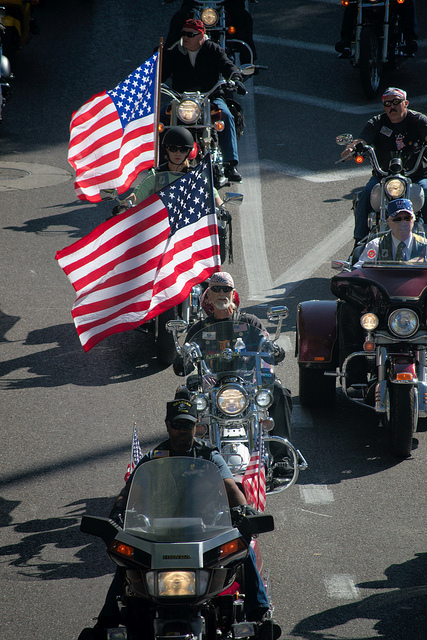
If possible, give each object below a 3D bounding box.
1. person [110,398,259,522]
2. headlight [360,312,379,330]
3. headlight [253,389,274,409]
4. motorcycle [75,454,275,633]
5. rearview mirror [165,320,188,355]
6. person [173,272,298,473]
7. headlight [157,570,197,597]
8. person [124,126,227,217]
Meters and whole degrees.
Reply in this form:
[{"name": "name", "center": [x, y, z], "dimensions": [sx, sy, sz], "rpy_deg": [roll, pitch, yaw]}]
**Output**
[{"name": "person", "center": [-0.129, 0.716, 4.919], "dimensions": [0.506, 0.428, 0.866], "rpy_deg": [-1, -6, 1]}, {"name": "headlight", "center": [1.298, 0.011, 7.458], "dimensions": [0.199, 0.149, 0.052], "rpy_deg": [2, 0, 5]}, {"name": "headlight", "center": [0.331, 0.537, 6.040], "dimensions": [0.128, 0.162, 0.067], "rpy_deg": [-4, 20, -3]}, {"name": "motorcycle", "center": [-0.115, 1.122, 4.509], "dimensions": [0.773, 0.673, 1.099], "rpy_deg": [-2, -8, 3]}, {"name": "rearview mirror", "center": [-0.291, 0.130, 6.896], "dimensions": [0.189, 0.239, 0.140], "rpy_deg": [-2, 8, 4]}, {"name": "person", "center": [0.190, 0.459, 6.703], "dimensions": [1.063, 1.419, 0.869], "rpy_deg": [-7, 24, -1]}, {"name": "headlight", "center": [-0.164, 1.180, 4.010], "dimensions": [0.268, 0.108, 0.153], "rpy_deg": [2, -14, -3]}, {"name": "person", "center": [-0.440, -1.734, 10.057], "dimensions": [1.005, 0.794, 1.595], "rpy_deg": [-4, 5, 2]}]
